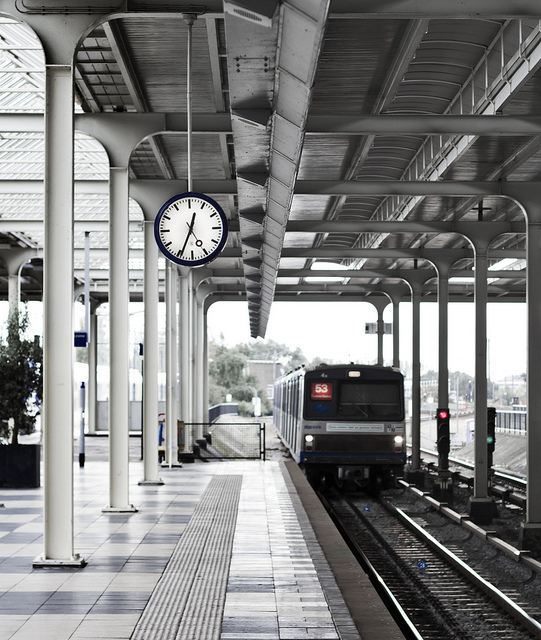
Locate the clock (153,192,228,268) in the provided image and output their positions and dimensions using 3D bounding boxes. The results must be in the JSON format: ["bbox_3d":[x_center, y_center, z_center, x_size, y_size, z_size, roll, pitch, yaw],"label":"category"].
[{"bbox_3d":[-0.954,-1.119,8.729,1.061,0.890,0.227,-6,-6,12],"label":"clock"}]

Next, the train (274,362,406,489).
[{"bbox_3d":[1.525,2.755,21.146,2.774,2.697,11.177,1,-5,-4],"label":"train"}]

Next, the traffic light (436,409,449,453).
[{"bbox_3d":[4.523,2.880,18.436,0.435,1.126,0.380,10,-8,13],"label":"traffic light"}]
